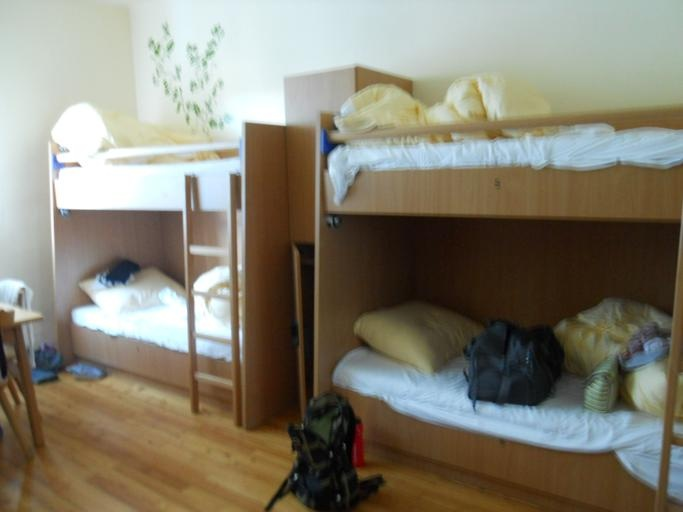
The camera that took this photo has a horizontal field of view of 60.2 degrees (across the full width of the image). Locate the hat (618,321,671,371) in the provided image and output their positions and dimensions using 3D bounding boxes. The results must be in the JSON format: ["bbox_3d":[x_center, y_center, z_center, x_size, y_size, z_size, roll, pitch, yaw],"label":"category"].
[{"bbox_3d":[1.660,0.511,3.219,0.231,0.214,0.295,4,12,31],"label":"hat"}]

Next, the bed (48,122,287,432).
[{"bbox_3d":[-1.320,0.178,4.363,2.026,1.756,1.187,4,7,33],"label":"bed"}]

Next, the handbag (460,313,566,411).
[{"bbox_3d":[0.948,0.562,3.357,0.463,0.363,0.477,0,5,24],"label":"handbag"}]
